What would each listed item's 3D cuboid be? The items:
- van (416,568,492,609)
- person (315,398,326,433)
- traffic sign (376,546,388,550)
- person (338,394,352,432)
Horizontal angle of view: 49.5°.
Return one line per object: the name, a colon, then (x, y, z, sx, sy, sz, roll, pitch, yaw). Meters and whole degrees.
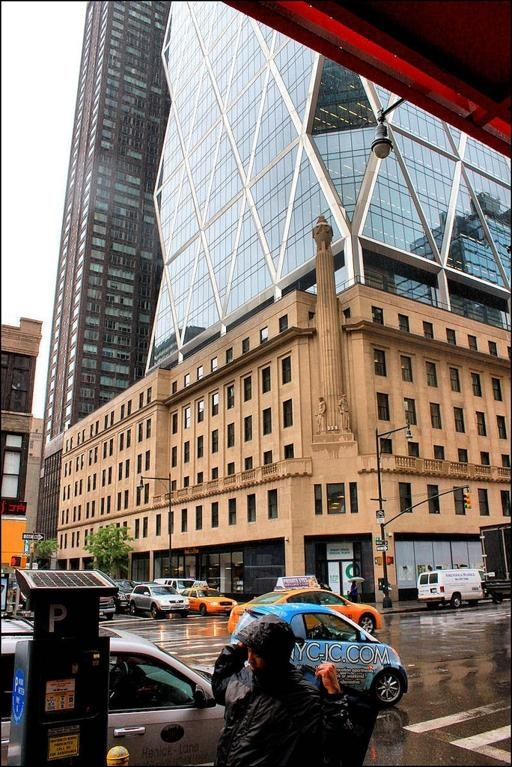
van: (11.137, 11.550, 31.646, 3.562, 1.925, 2.190, 5, -15, -28)
person: (4.784, 2.390, 40.912, 0.799, 3.464, 1.148, 6, -23, -2)
traffic sign: (7.647, 9.963, 33.559, 0.709, 0.443, 0.153, 0, -10, 3)
person: (6.489, 2.221, 40.465, 0.794, 2.838, 0.502, -1, -17, -8)
